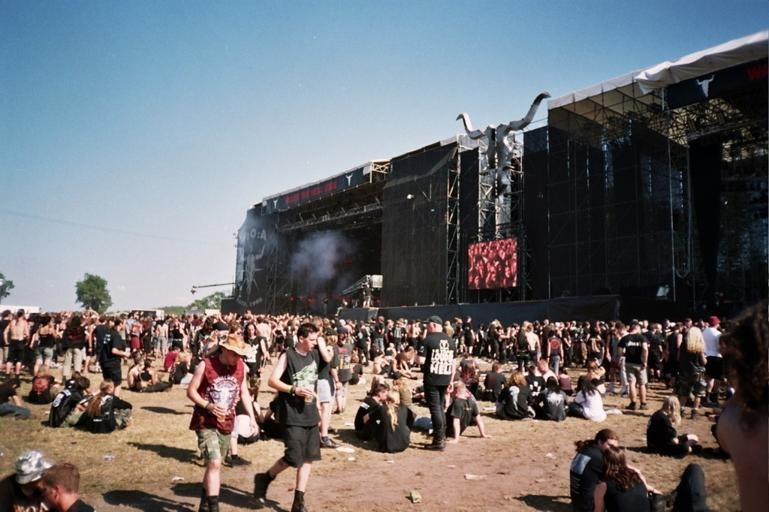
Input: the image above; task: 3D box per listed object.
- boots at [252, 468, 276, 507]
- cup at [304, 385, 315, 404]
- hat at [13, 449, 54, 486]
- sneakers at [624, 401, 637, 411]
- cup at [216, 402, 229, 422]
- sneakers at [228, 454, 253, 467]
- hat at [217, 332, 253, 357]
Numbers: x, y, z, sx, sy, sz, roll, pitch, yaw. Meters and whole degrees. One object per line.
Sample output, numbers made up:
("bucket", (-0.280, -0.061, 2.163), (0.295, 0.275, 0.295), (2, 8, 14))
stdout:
("boots", (-2.099, 4.009, 9.721), (0.285, 0.594, 0.572), (4, -11, -17))
("cup", (-1.249, 2.343, 9.473), (0.248, 0.245, 0.184), (1, -1, -10))
("hat", (-4.886, 2.903, 7.734), (0.462, 0.254, 0.451), (-11, 24, 7))
("sneakers", (7.102, 4.359, 16.342), (0.151, 0.298, 0.304), (9, -6, -15))
("cup", (-2.623, 2.536, 9.091), (0.195, 0.292, 0.124), (4, -10, -16))
("sneakers", (-2.873, 4.111, 11.306), (0.501, 0.224, 0.194), (-1, -3, -4))
("hat", (-2.411, 1.437, 9.110), (0.387, 0.169, 0.364), (27, -2, 11))
